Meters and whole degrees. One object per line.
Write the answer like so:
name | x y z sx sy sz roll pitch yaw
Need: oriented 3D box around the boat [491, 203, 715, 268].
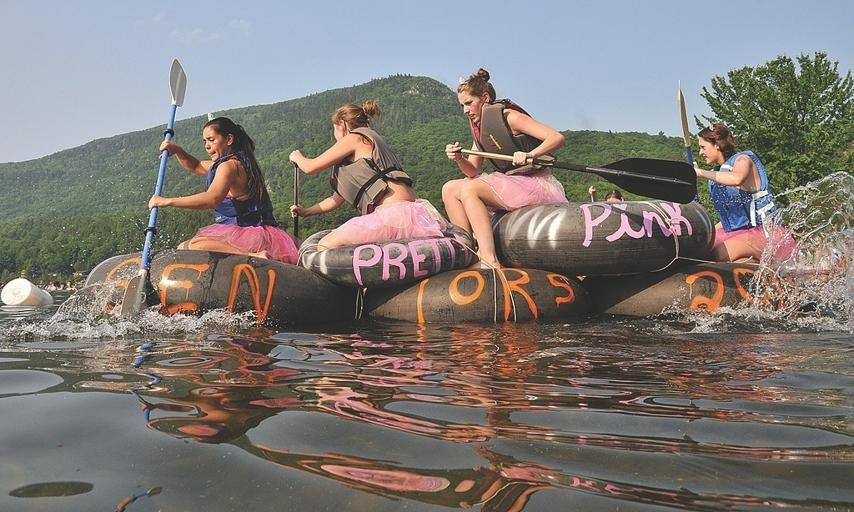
boat | 2.081 -0.286 8.187 2.622 0.668 2.468 -4 4 -26
